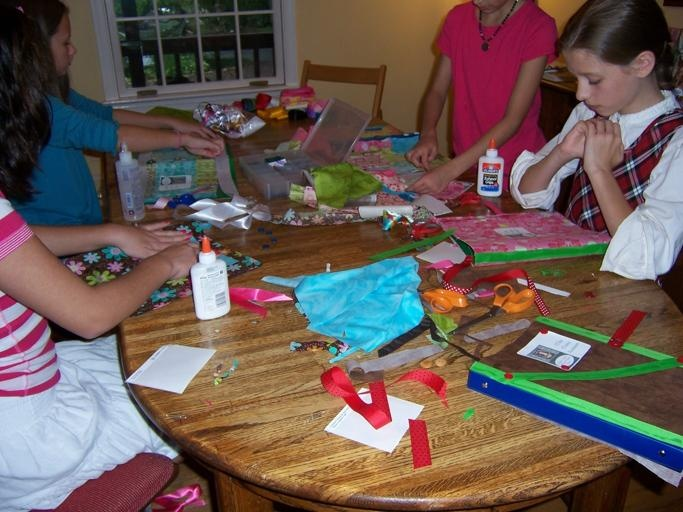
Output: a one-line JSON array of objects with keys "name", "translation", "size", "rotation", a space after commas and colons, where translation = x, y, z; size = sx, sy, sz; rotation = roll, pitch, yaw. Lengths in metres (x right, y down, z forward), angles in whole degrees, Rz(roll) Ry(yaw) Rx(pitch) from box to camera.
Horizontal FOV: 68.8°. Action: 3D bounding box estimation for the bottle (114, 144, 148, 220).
[{"name": "bottle", "translation": [-0.694, -0.241, 1.642], "size": [0.127, 0.211, 0.157], "rotation": [-8, 27, -21]}]
